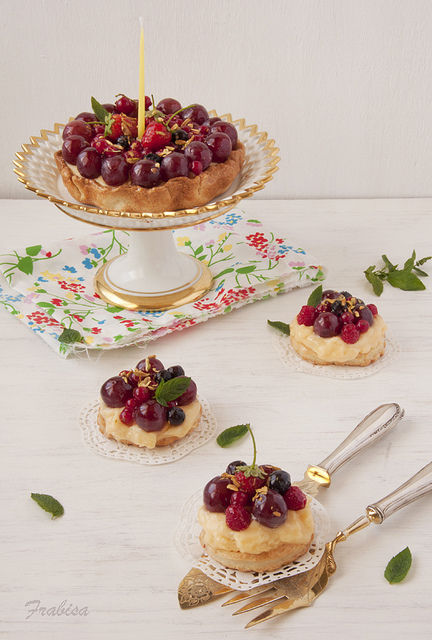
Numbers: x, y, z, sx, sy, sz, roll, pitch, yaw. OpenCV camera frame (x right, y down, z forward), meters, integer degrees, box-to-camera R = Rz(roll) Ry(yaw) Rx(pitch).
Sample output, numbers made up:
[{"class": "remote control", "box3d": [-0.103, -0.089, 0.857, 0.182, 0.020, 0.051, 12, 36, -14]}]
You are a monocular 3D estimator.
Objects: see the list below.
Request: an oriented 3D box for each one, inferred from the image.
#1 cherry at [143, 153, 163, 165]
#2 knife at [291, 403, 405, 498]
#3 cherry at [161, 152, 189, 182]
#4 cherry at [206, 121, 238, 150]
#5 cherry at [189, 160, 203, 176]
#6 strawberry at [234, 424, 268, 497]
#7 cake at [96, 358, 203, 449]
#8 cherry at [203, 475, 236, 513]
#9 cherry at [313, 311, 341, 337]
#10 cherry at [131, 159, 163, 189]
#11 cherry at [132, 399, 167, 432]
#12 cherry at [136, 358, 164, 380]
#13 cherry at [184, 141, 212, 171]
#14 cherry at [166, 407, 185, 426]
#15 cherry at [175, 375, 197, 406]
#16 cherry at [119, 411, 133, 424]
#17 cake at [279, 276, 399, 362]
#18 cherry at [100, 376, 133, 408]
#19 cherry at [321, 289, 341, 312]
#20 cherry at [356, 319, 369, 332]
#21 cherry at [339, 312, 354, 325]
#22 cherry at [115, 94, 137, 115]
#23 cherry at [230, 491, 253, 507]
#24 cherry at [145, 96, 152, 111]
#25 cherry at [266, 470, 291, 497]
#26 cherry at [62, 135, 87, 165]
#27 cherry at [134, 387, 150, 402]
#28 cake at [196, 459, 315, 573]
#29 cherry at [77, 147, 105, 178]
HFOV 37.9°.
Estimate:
[{"class": "cherry", "box3d": [-0.101, -0.264, 1.035, 0.019, 0.011, 0.022, 5, 10, 8]}, {"class": "knife", "box3d": [0.202, 0.151, 0.861, 0.263, 0.029, 0.063, -31, 21, -36]}, {"class": "cherry", "box3d": [-0.067, -0.249, 1.020, 0.046, 0.049, 0.044, 4, 27, 7]}, {"class": "cherry", "box3d": [0.014, -0.338, 1.159, 0.054, 0.056, 0.050, -5, 26, -7]}, {"class": "cherry", "box3d": [-0.033, -0.253, 1.046, 0.022, 0.019, 0.011, 0, 4, 10]}, {"class": "strawberry", "box3d": [0.037, 0.149, 0.677, 0.035, 0.065, 0.062, -1, 28, -2]}, {"class": "cake", "box3d": [-0.097, 0.116, 0.873, 0.125, 0.101, 0.111, 18, 32, 29]}, {"class": "cherry", "box3d": [0.004, 0.189, 0.675, 0.032, 0.035, 0.031, -3, 28, -7]}, {"class": "cherry", "box3d": [0.183, 0.010, 1.036, 0.045, 0.040, 0.038, -5, 60, -22]}, {"class": "cherry", "box3d": [-0.108, -0.237, 1.018, 0.049, 0.046, 0.047, 2, 17, -4]}, {"class": "cherry", "box3d": [-0.088, 0.127, 0.829, 0.037, 0.032, 0.043, 1, 24, 2]}, {"class": "cherry", "box3d": [-0.093, 0.066, 0.899, 0.033, 0.036, 0.030, -4, 56, -6]}, {"class": "cherry", "box3d": [-0.032, -0.282, 1.094, 0.051, 0.052, 0.046, -4, 31, -3]}, {"class": "cherry", "box3d": [-0.054, 0.129, 0.842, 0.020, 0.018, 0.024, -2, 27, -5]}, {"class": "cherry", "box3d": [-0.035, 0.097, 0.878, 0.041, 0.043, 0.039, 2, 12, 6]}, {"class": "cherry", "box3d": [-0.121, 0.133, 0.847, 0.018, 0.017, 0.009, -2, 29, -5]}, {"class": "cake", "box3d": [0.207, 0.005, 1.099, 0.173, 0.072, 0.196, -23, 30, -15]}, {"class": "cherry", "box3d": [-0.134, 0.101, 0.863, 0.036, 0.039, 0.032, -5, 56, -2]}, {"class": "cherry", "box3d": [0.194, -0.037, 1.086, 0.039, 0.040, 0.035, -4, 35, -6]}, {"class": "cherry", "box3d": [0.241, 0.010, 1.034, 0.017, 0.018, 0.017, -2, 10, 1]}, {"class": "cherry", "box3d": [0.215, -0.001, 1.043, 0.020, 0.020, 0.012, 4, 29, 7]}, {"class": "cherry", "box3d": [-0.168, -0.411, 1.195, 0.036, 0.032, 0.060, -2, 27, -6]}, {"class": "cherry", "box3d": [0.026, 0.187, 0.661, 0.022, 0.015, 0.015, 1, 2, -14]}, {"class": "cherry", "box3d": [-0.134, -0.421, 1.224, 0.027, 0.024, 0.034, -1, 15, -8]}, {"class": "cherry", "box3d": [0.064, 0.172, 0.664, 0.022, 0.020, 0.028, -7, -14, -4]}, {"class": "cherry", "box3d": [-0.250, -0.297, 1.098, 0.056, 0.059, 0.054, -4, 18, -13]}, {"class": "cherry", "box3d": [-0.097, 0.099, 0.846, 0.021, 0.021, 0.018, -2, 17, -4]}, {"class": "cake", "box3d": [0.044, 0.208, 0.693, 0.136, 0.075, 0.130, -3, 15, 13]}, {"class": "cherry", "box3d": [-0.197, -0.264, 1.062, 0.050, 0.045, 0.055, -3, 24, -2]}]
